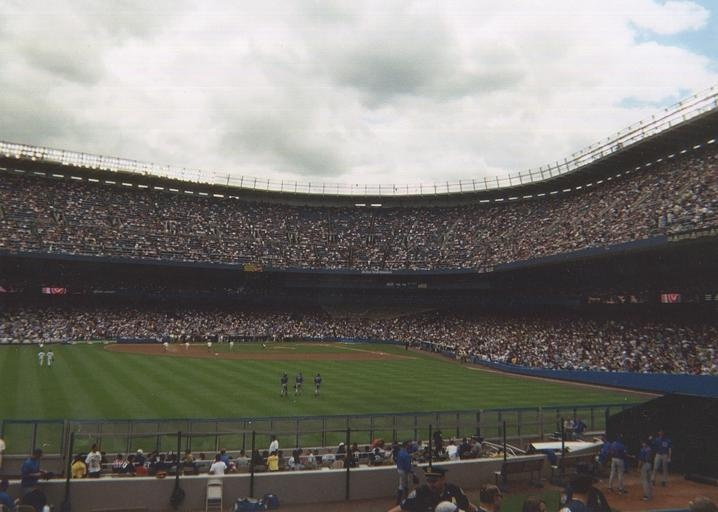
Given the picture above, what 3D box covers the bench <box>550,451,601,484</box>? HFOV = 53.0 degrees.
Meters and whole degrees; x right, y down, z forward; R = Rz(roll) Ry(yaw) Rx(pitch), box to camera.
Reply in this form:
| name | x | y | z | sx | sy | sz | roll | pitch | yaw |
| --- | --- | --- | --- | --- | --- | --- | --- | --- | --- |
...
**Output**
| name | x | y | z | sx | sy | sz | roll | pitch | yaw |
| --- | --- | --- | --- | --- | --- | --- | --- | --- | --- |
| bench | 10.683 | 10.451 | 35.473 | 3.017 | 1.757 | 1.370 | 1 | -6 | -13 |
